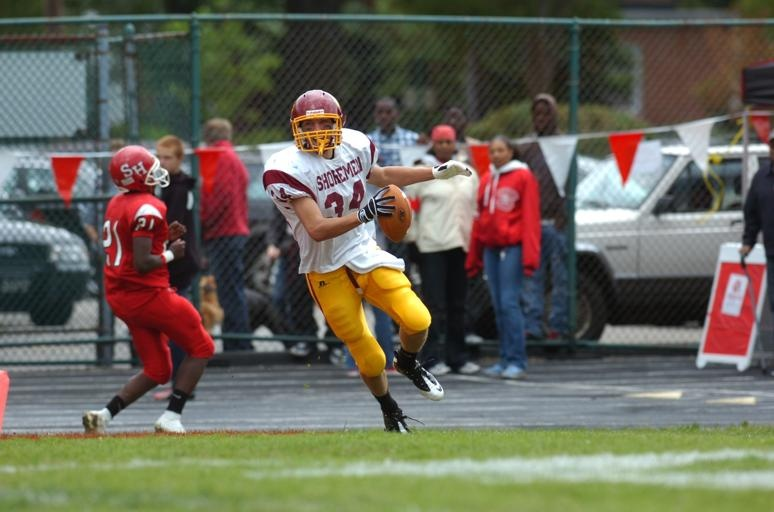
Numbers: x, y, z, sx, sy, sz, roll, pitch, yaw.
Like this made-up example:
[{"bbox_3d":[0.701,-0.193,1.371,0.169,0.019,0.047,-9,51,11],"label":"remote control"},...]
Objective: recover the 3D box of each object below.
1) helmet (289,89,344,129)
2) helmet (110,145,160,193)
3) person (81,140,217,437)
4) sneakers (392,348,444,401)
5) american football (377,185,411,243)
[{"bbox_3d":[-0.625,-1.290,11.471,0.464,0.324,0.258,0,8,3],"label":"helmet"},{"bbox_3d":[-2.282,-0.784,11.762,0.485,0.310,0.345,-4,13,-12],"label":"helmet"},{"bbox_3d":[-2.195,0.385,11.853,1.287,2.619,0.992,-2,-1,-18],"label":"person"},{"bbox_3d":[0.248,1.054,11.720,0.248,0.701,0.276,-50,15,-11],"label":"sneakers"},{"bbox_3d":[0.058,-0.348,11.413,0.243,0.519,0.238,-1,-4,7],"label":"american football"}]
